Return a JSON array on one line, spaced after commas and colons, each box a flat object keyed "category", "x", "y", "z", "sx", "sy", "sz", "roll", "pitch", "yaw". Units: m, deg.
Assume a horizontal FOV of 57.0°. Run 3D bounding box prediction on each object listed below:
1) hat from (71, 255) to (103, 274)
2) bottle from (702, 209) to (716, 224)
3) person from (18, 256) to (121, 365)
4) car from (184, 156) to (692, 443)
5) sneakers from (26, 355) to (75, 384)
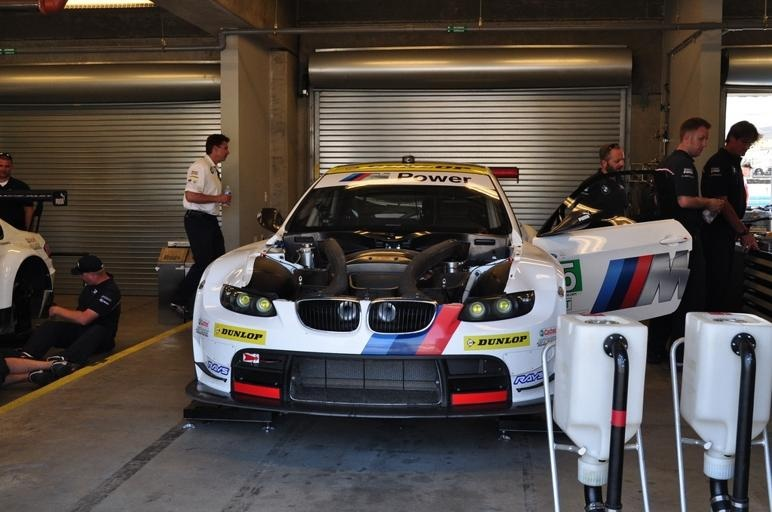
[{"category": "hat", "x": -2.942, "y": 0.098, "z": 6.948, "sx": 0.305, "sy": 0.148, "sz": 0.200, "roll": 4, "pitch": 29, "yaw": 1}, {"category": "bottle", "x": 3.144, "y": -0.365, "z": 6.884, "sx": 0.127, "sy": 0.092, "sz": 0.101, "roll": 5, "pitch": 14, "yaw": 31}, {"category": "person", "x": -3.013, "y": 0.542, "z": 6.848, "sx": 0.503, "sy": 1.051, "sz": 0.895, "roll": 4, "pitch": 9, "yaw": 30}, {"category": "car", "x": 0.098, "y": 0.306, "z": 5.399, "sx": 2.657, "sy": 1.021, "sz": 3.124, "roll": -1, "pitch": 3, "yaw": 14}, {"category": "sneakers", "x": -2.986, "y": 1.029, "z": 6.427, "sx": 0.177, "sy": 0.145, "sz": 0.430, "roll": 45, "pitch": 41, "yaw": 18}]
